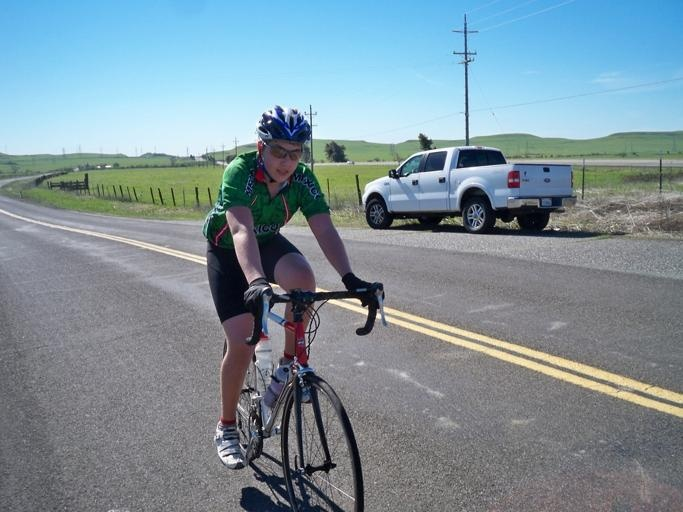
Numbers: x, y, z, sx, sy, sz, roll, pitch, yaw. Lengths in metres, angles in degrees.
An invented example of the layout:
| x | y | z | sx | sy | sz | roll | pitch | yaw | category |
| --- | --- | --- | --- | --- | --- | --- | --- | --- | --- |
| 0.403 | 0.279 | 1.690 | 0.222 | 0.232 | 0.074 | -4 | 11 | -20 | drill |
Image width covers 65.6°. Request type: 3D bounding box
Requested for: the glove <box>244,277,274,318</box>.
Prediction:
| x | y | z | sx | sy | sz | roll | pitch | yaw | category |
| --- | --- | --- | --- | --- | --- | --- | --- | --- | --- |
| -0.476 | 0.232 | 3.068 | 0.174 | 0.190 | 0.145 | -1 | 10 | 4 | glove |

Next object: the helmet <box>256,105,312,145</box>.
| x | y | z | sx | sy | sz | roll | pitch | yaw | category |
| --- | --- | --- | --- | --- | --- | --- | --- | --- | --- |
| -0.395 | -0.886 | 3.617 | 0.370 | 0.260 | 0.539 | 2 | 10 | -21 | helmet |

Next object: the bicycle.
| x | y | z | sx | sy | sz | roll | pitch | yaw | category |
| --- | --- | --- | --- | --- | --- | --- | --- | --- | --- |
| -0.224 | 0.855 | 3.360 | 0.687 | 1.443 | 1.386 | -7 | 11 | -26 | bicycle |
